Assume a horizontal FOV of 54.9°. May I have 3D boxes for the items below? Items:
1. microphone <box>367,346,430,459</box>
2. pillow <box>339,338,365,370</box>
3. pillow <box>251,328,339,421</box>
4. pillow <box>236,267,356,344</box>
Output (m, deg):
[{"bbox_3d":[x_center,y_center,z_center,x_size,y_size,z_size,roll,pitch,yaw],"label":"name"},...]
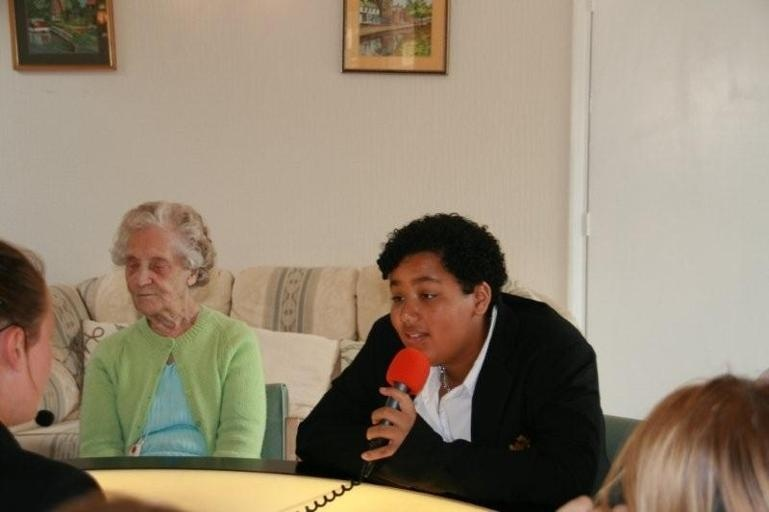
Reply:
[{"bbox_3d":[0.049,0.451,2.306,0.166,0.313,0.314,1,1,6],"label":"microphone"},{"bbox_3d":[-0.160,0.472,3.516,0.125,0.128,0.051,-20,-38,40],"label":"pillow"},{"bbox_3d":[-0.405,0.520,3.363,0.362,0.359,0.109,4,-26,-1],"label":"pillow"},{"bbox_3d":[-0.439,0.225,3.713,0.423,0.429,0.134,1,-12,5],"label":"pillow"}]
